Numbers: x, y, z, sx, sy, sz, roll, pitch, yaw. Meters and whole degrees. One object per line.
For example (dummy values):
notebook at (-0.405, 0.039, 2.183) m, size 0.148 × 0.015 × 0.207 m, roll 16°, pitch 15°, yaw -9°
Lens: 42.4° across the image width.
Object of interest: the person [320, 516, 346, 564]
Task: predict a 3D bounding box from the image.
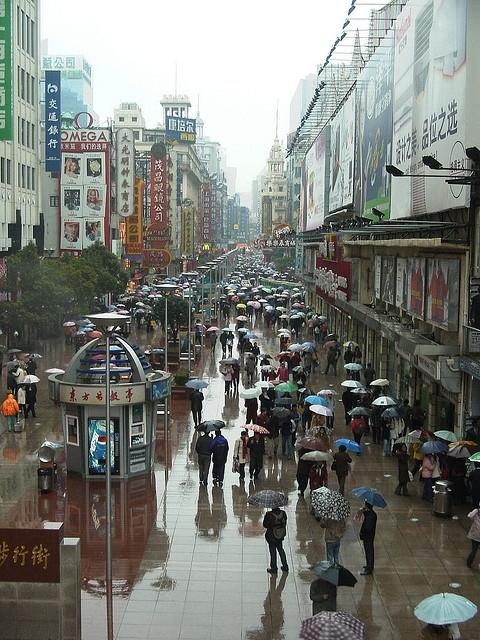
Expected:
person at (1.317, 3.041, 8.814) m, size 0.242 × 1.064 × 0.281 m, roll -5°, pitch 21°, yaw -10°

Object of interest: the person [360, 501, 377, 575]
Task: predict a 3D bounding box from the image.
person at (1.910, 3.148, 9.275) m, size 0.216 × 1.169 × 0.773 m, roll 0°, pitch 4°, yaw 13°

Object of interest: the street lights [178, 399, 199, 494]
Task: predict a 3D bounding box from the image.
street lights at (-1.400, 3.479, 17.034) m, size 0.542 × 3.337 × 0.877 m, roll -2°, pitch 22°, yaw -8°

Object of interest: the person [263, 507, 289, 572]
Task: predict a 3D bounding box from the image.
person at (0.532, 3.144, 8.998) m, size 0.354 × 1.220 × 1.010 m, roll 0°, pitch 4°, yaw 4°

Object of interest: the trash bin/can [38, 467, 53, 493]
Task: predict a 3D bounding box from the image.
trash bin/can at (-4.177, 3.410, 13.256) m, size 0.308 × 0.511 × 0.215 m, roll -1°, pitch 3°, yaw -11°
